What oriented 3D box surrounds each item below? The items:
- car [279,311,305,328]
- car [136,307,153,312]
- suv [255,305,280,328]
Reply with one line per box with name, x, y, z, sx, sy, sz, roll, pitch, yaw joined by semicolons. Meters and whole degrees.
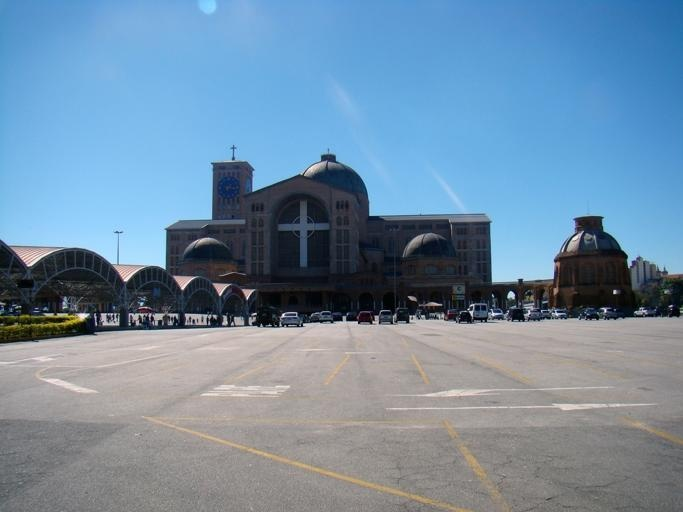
car;-5.642;7.162;67.761;2.113;1.508;1.562;-3;-7;11
car;-28.410;7.699;86.085;2.226;1.032;2.348;5;-12;-20
suv;-8.450;6.874;68.273;2.016;2.338;2.906;-3;-7;15
